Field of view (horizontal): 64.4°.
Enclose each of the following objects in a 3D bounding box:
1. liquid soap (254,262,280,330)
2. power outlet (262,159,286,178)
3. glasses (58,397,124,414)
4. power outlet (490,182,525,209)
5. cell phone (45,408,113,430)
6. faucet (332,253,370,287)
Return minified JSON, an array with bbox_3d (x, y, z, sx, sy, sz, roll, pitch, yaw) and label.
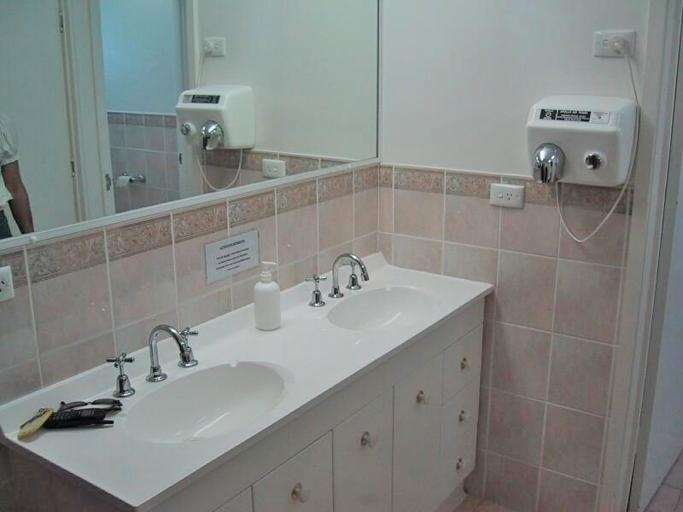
[{"bbox_3d":[-0.288,0.138,2.038,0.098,0.248,0.142,-9,19,-18],"label":"liquid soap"},{"bbox_3d":[-0.263,-0.340,2.137,0.061,0.092,0.110,4,6,44],"label":"power outlet"},{"bbox_3d":[-0.721,0.430,1.564,0.115,0.027,0.074,-6,2,1],"label":"glasses"},{"bbox_3d":[0.713,-0.257,2.297,0.092,0.076,0.013,11,22,30],"label":"power outlet"},{"bbox_3d":[-0.723,0.448,1.491,0.134,0.036,0.071,-2,17,-9],"label":"cell phone"},{"bbox_3d":[0.029,0.028,2.362,0.143,0.147,0.296,-3,20,-2],"label":"faucet"}]
